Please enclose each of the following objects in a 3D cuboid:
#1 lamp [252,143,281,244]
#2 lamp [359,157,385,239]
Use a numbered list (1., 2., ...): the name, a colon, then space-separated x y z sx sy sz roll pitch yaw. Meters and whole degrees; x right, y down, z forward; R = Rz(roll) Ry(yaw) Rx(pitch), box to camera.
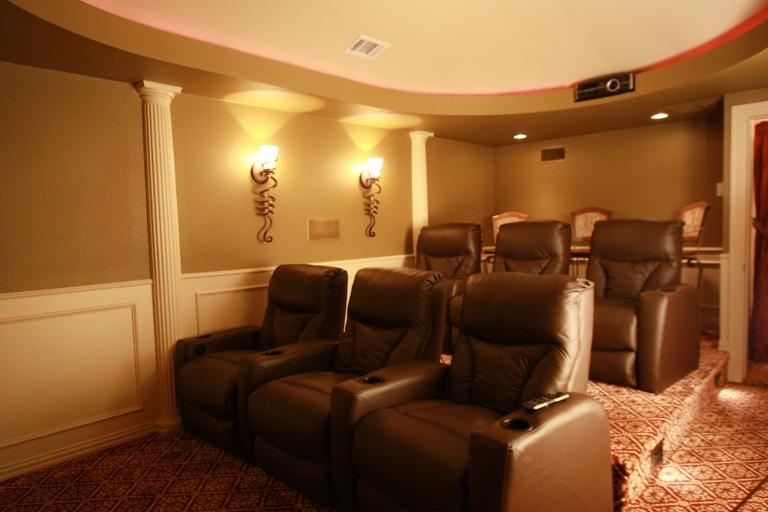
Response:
1. lamp: -1.244 -0.635 5.544 0.282 1.003 0.287 -3 8 -11
2. lamp: -0.082 -0.697 6.478 0.250 0.963 0.382 4 9 35
